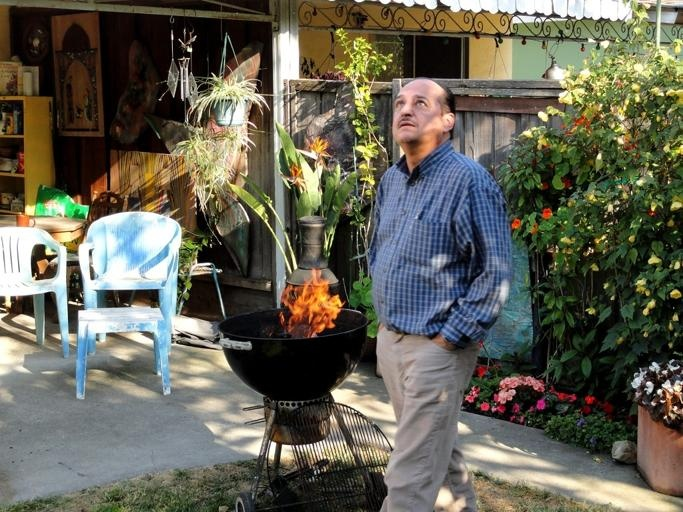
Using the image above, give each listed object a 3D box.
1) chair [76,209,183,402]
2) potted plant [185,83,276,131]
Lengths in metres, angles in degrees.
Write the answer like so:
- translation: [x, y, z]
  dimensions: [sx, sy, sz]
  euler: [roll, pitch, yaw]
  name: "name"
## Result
- translation: [-1.846, 0.267, 5.871]
  dimensions: [0.983, 1.997, 1.365]
  euler: [1, 3, -7]
  name: "chair"
- translation: [-1.067, -1.431, 6.337]
  dimensions: [0.632, 0.496, 0.712]
  euler: [-4, 3, 13]
  name: "potted plant"
